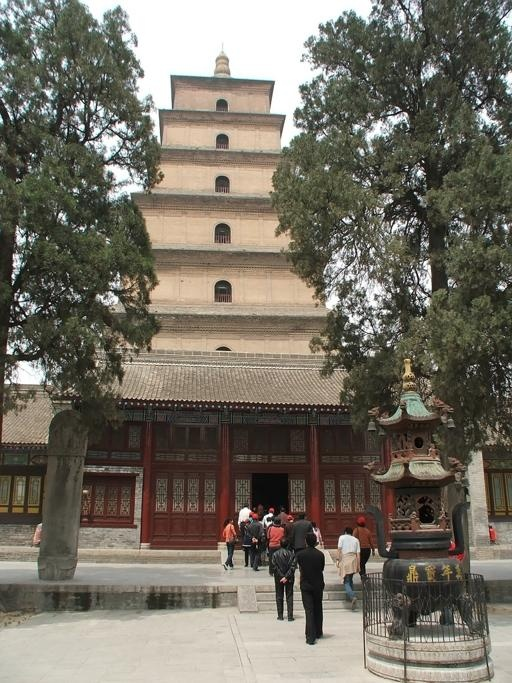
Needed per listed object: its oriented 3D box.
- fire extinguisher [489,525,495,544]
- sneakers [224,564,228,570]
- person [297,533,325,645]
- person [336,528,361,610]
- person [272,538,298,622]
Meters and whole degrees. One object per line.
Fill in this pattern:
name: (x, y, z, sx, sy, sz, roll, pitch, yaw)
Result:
fire extinguisher: (7.090, 5.795, 16.409, 0.140, 0.495, 0.482, -9, -16, 29)
sneakers: (-0.639, 4.750, 11.496, 0.081, 0.105, 0.248, 0, -38, 3)
person: (0.545, 2.454, 5.322, 0.236, 0.901, 0.513, -3, -14, 7)
person: (1.345, 3.258, 7.871, 0.308, 1.153, 0.971, -4, -14, 10)
person: (0.338, 2.781, 6.407, 0.262, 0.949, 0.254, 0, 4, 5)
